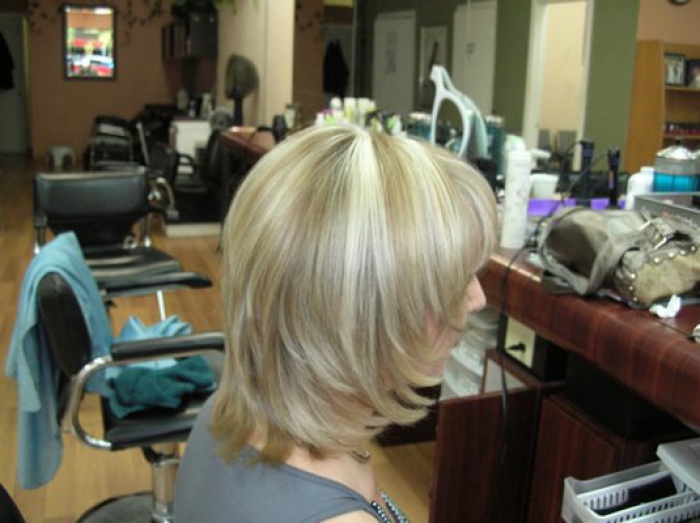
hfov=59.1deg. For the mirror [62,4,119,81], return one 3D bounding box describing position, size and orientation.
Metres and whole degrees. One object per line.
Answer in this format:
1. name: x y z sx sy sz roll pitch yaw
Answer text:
1. mirror: -3.369 -2.805 7.950 0.880 1.374 0.099 -1 3 -6
